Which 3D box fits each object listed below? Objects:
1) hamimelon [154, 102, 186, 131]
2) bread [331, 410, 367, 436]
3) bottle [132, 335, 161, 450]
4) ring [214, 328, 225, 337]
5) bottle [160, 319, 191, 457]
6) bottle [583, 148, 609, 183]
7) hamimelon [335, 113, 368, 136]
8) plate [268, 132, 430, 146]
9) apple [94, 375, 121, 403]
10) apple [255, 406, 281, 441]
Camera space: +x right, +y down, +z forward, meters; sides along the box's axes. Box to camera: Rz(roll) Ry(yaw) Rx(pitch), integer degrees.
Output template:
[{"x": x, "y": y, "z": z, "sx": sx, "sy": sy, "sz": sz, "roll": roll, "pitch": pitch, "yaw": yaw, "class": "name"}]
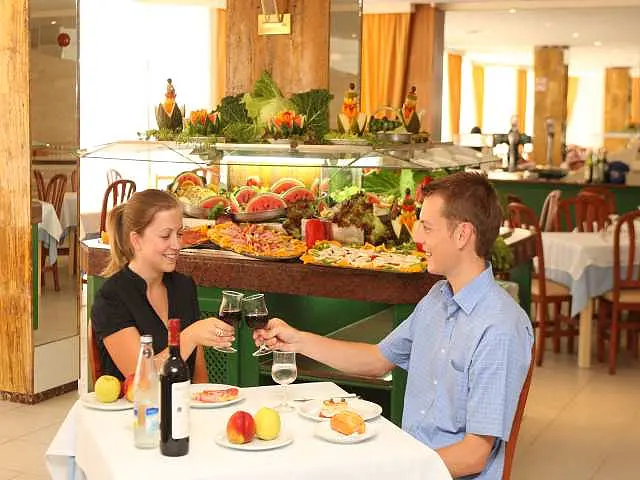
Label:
[{"x": -0.885, "y": -0.725, "z": 3.549, "sx": 0.166, "sy": 0.181, "sz": 0.160, "roll": 1, "pitch": 0, "yaw": -1, "class": "hamimelon"}, {"x": 0.082, "y": 0.516, "z": 1.701, "sx": 0.065, "sy": 0.036, "sz": 0.066, "roll": 6, "pitch": 7, "yaw": 26, "class": "bread"}, {"x": -0.467, "y": 0.407, "z": 1.607, "sx": 0.072, "sy": 0.320, "sz": 0.081, "roll": -3, "pitch": 10, "yaw": -17, "class": "bottle"}, {"x": -0.340, "y": 0.314, "z": 2.041, "sx": 0.032, "sy": 0.016, "sz": 0.033, "roll": 2, "pitch": 6, "yaw": 0, "class": "ring"}, {"x": -0.377, "y": 0.381, "z": 1.540, "sx": 0.077, "sy": 0.387, "sz": 0.088, "roll": -2, "pitch": 10, "yaw": -15, "class": "bottle"}, {"x": 3.931, "y": -1.066, "z": 8.505, "sx": 0.279, "sy": 0.469, "sz": 0.253, "roll": 5, "pitch": 10, "yaw": 25, "class": "bottle"}, {"x": 0.191, "y": -0.672, "z": 3.552, "sx": 0.167, "sy": 0.136, "sz": 0.165, "roll": 1, "pitch": -2, "yaw": 1, "class": "hamimelon"}, {"x": 0.107, "y": -0.560, "z": 3.261, "sx": 0.740, "sy": 0.069, "sz": 0.484, "roll": 4, "pitch": 9, "yaw": 22, "class": "plate"}, {"x": -0.683, "y": 0.477, "z": 1.908, "sx": 0.078, "sy": 0.073, "sz": 0.080, "roll": -2, "pitch": -17, "yaw": 11, "class": "apple"}, {"x": -0.143, "y": 0.510, "z": 1.647, "sx": 0.081, "sy": 0.097, "sz": 0.080, "roll": 0, "pitch": 2, "yaw": 3, "class": "apple"}]
